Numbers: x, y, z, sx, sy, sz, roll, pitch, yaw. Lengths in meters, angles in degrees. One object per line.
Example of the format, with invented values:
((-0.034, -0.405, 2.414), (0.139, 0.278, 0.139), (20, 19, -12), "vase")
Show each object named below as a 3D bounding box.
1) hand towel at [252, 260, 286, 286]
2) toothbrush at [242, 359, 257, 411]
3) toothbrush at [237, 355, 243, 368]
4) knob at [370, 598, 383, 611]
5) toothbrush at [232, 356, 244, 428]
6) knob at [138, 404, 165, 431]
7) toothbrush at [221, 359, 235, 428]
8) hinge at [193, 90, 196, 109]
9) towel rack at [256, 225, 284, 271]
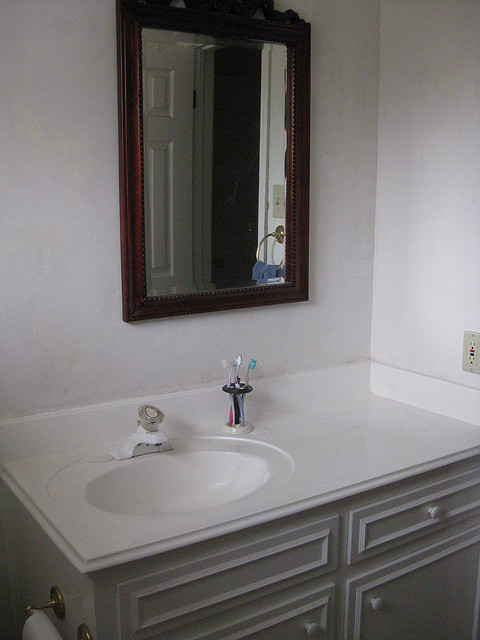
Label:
((0.077, -0.136, 1.618), (0.062, 0.048, 0.097), (-2, 1, 4), "hand towel")
((0.021, 0.159, 1.555), (0.024, 0.177, 0.013), (9, 0, -43), "toothbrush")
((-0.001, 0.112, 1.512), (0.007, 0.030, 0.016), (5, 1, -16), "toothbrush")
((0.306, 0.632, 1.263), (0.034, 0.029, 0.016), (-1, 6, -29), "knob")
((-0.007, 0.179, 1.498), (0.021, 0.207, 0.022), (3, -12, -30), "toothbrush")
((-0.217, 0.231, 1.396), (0.057, 0.044, 0.061), (2, 30, -50), "knob")
((-0.032, 0.189, 1.520), (0.021, 0.218, 0.023), (-8, -6, 24), "toothbrush")
((-0.114, -0.545, 1.404), (0.007, 0.042, 0.004), (0, 5, -16), "hinge")
((0.085, -0.211, 1.614), (0.073, 0.107, 0.026), (10, 4, -32), "towel rack")
